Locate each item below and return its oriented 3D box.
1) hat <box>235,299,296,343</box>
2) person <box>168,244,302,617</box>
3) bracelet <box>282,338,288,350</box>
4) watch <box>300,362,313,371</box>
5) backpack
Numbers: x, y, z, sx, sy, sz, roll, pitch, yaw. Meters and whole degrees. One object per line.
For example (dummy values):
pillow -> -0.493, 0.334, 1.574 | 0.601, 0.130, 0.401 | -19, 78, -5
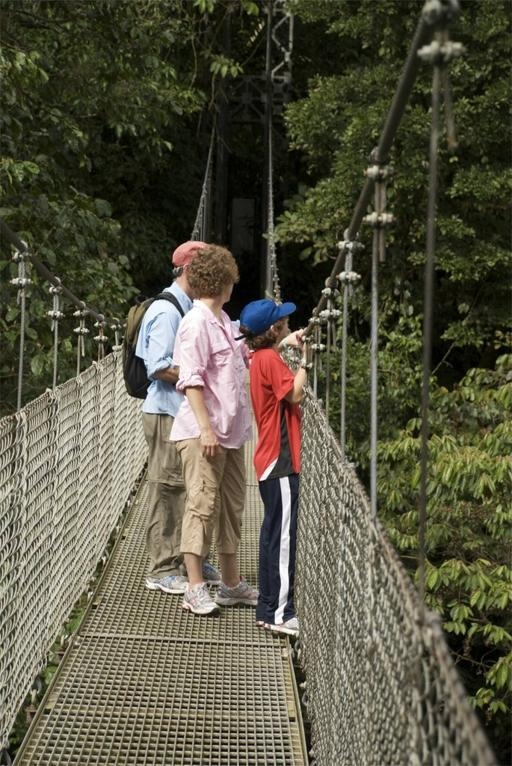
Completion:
hat -> 0.036, -0.233, 2.869 | 0.187, 0.083, 0.111 | -33, 28, -9
person -> -0.158, 0.191, 2.875 | 0.327, 1.324, 0.483 | 7, 7, 24
bracelet -> 0.116, -0.154, 3.257 | 0.015, 0.041, 0.040 | 9, -3, -19
watch -> 0.171, -0.056, 2.787 | 0.034, 0.011, 0.034 | 10, 8, 40
backpack -> -0.371, -0.128, 3.033 | 0.204, 0.396, 0.256 | 14, 18, 1
